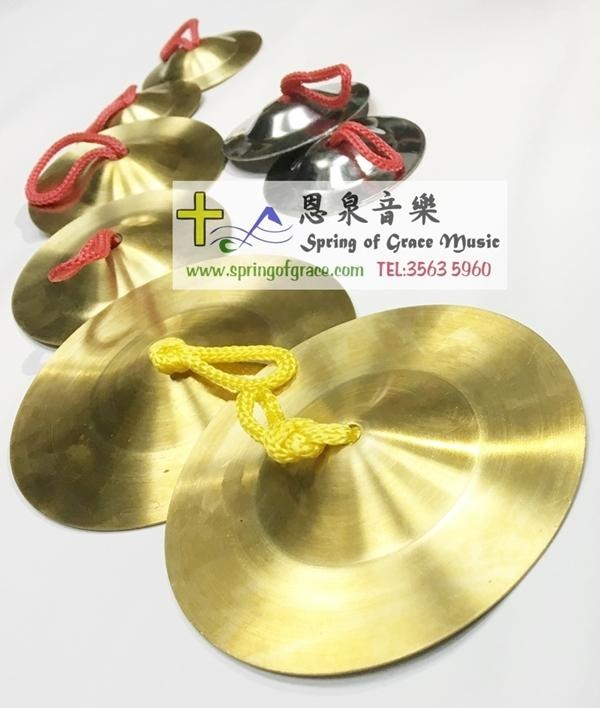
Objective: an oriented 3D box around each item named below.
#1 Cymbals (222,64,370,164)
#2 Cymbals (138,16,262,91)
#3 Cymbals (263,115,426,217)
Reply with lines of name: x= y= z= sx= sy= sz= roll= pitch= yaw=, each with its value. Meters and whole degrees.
Cymbals: x=-0.010 y=-0.384 z=1.301 sx=0.228 sy=0.061 sz=0.190 roll=7 pitch=61 yaw=33
Cymbals: x=-0.204 y=-0.621 z=1.622 sx=0.218 sy=0.064 sz=0.201 roll=-34 pitch=54 yaw=1
Cymbals: x=0.072 y=-0.263 z=1.225 sx=0.229 sy=0.040 sz=0.175 roll=-17 pitch=41 yaw=16
